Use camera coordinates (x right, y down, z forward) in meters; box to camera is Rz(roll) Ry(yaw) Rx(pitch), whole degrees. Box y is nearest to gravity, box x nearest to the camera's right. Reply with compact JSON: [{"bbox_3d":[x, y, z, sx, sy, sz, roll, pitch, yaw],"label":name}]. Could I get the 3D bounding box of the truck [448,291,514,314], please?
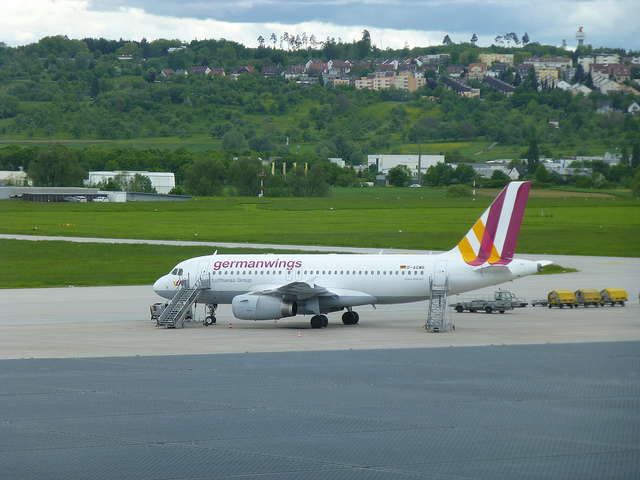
[{"bbox_3d":[12.509,4.836,91.769,4.293,1.147,2.542,-1,2,6],"label":"truck"}]
